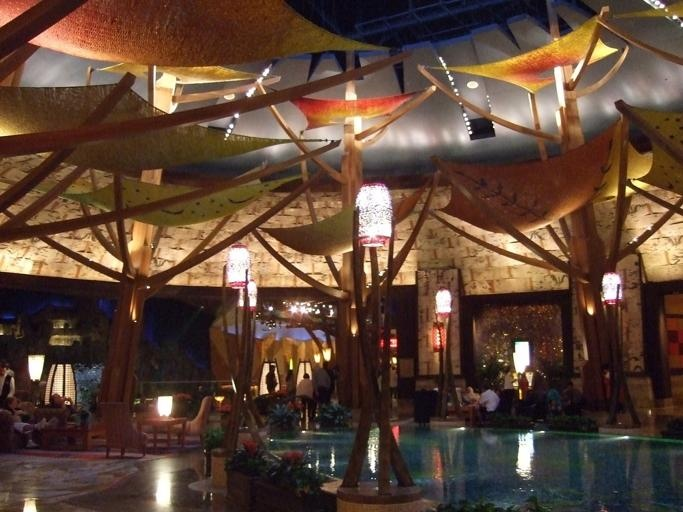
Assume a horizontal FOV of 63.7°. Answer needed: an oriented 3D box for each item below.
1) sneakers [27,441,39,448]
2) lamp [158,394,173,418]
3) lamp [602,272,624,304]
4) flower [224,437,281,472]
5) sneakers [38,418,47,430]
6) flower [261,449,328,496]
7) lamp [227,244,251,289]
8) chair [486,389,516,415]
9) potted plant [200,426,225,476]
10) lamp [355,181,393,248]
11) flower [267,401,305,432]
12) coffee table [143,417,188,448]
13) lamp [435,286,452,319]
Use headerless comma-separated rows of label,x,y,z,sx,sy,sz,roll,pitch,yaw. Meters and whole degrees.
sneakers,-6.841,4.151,12.176,0.219,0.151,0.094,2,-7,-3
lamp,-4.046,3.418,12.566,0.313,0.492,0.618,5,-18,-21
lamp,6.021,0.679,12.133,0.390,0.782,0.481,-8,-18,24
flower,-1.105,2.481,6.709,0.510,0.328,0.517,2,-10,-1
sneakers,-6.781,3.772,12.429,0.156,0.199,0.458,5,-5,-21
flower,-0.438,2.289,5.803,0.419,0.237,0.399,12,-6,-30
lamp,-1.555,0.145,8.318,0.359,0.628,0.352,-1,-14,-13
chair,4.336,3.913,14.797,0.692,1.165,0.325,11,-34,-2
potted plant,-1.947,2.963,8.384,0.275,0.692,0.538,2,-17,-12
lamp,0.348,-0.441,5.708,0.370,0.613,0.423,-3,-16,8
flower,-1.315,3.670,12.622,0.679,0.604,0.695,-2,-20,2
coffee table,-4.079,4.092,12.842,0.898,0.681,2.801,3,-18,-15
lamp,2.490,1.079,13.253,0.338,0.733,0.490,-3,-16,5
